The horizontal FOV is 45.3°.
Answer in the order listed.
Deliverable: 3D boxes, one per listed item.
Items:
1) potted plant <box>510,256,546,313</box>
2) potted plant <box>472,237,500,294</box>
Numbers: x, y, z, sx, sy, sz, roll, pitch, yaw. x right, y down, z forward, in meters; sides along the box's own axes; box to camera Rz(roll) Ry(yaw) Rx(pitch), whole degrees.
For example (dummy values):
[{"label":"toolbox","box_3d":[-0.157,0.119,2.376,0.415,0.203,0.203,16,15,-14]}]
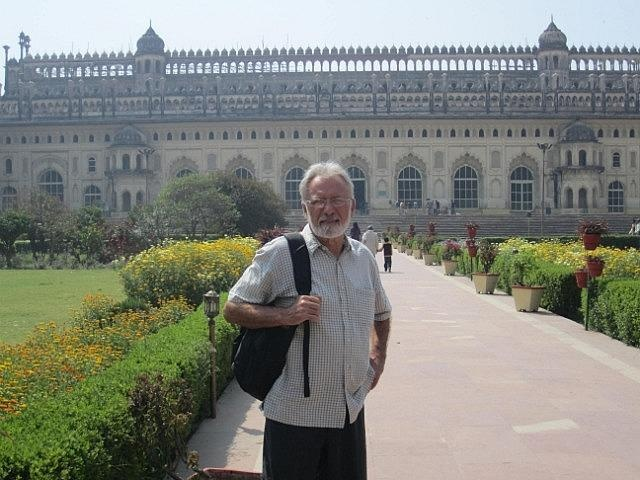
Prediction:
[{"label":"potted plant","box_3d":[4.036,0.854,15.078,0.472,1.092,0.387,-1,-6,38]},{"label":"potted plant","box_3d":[3.870,0.657,17.819,0.522,1.179,0.547,2,-4,24]}]
